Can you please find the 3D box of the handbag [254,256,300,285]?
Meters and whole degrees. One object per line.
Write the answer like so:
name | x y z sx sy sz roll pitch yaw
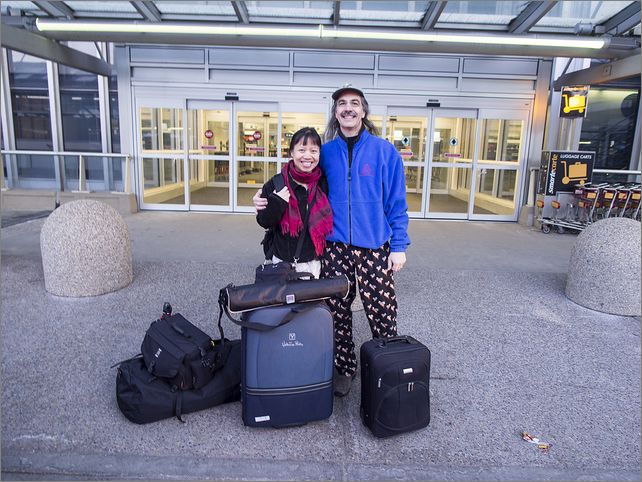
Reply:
handbag | -0.376 0.260 4.175 0.287 0.299 0.183 -6 2 13

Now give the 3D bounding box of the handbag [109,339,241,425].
handbag | -1.254 1.314 4.290 0.860 0.317 0.606 -11 40 -22

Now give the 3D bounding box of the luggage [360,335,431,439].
luggage | 0.684 1.261 4.257 0.596 0.807 0.428 -5 10 -20

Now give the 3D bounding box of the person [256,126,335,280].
person | -0.224 -0.312 4.291 0.684 1.350 0.415 2 12 2

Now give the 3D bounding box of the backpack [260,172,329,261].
backpack | -0.217 -0.220 4.301 0.711 0.710 0.415 0 12 -9
